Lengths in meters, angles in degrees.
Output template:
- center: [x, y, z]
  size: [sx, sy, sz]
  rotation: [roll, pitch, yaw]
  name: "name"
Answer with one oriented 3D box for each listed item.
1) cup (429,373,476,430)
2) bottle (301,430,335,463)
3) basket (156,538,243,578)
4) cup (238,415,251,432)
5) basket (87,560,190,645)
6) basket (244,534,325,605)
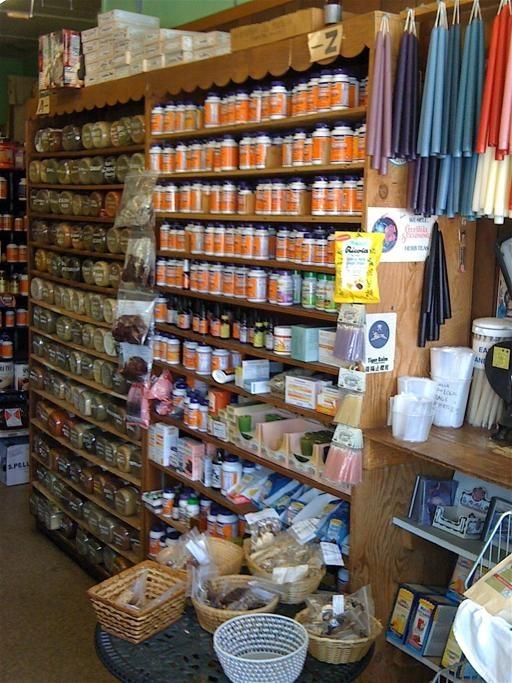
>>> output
- center: [0.663, 0.198, 1.829]
  size: [0.172, 0.229, 0.159]
  rotation: [6, 0, 0]
  name: "cup"
- center: [0.245, 0.402, 2.064]
  size: [0.076, 0.033, 0.108]
  rotation: [7, 9, 36]
  name: "bottle"
- center: [-0.167, 0.741, 1.808]
  size: [0.172, 0.059, 0.170]
  rotation: [2, 0, -19]
  name: "basket"
- center: [-0.047, 0.371, 2.365]
  size: [0.067, 0.074, 0.067]
  rotation: [3, 3, 0]
  name: "cup"
- center: [-0.305, 0.732, 1.492]
  size: [0.214, 0.117, 0.268]
  rotation: [14, 16, 24]
  name: "basket"
- center: [0.103, 0.688, 1.631]
  size: [0.162, 0.068, 0.189]
  rotation: [2, 10, -4]
  name: "basket"
